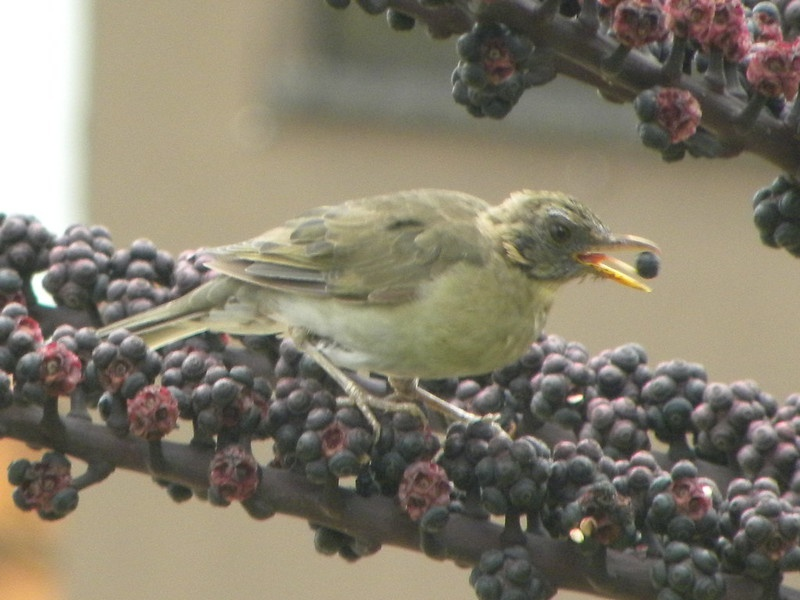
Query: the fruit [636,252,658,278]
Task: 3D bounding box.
[{"bbox_3d":[0.492,-0.069,4.276,0.047,0.048,0.057,0,-88,9],"label":"fruit"}]
